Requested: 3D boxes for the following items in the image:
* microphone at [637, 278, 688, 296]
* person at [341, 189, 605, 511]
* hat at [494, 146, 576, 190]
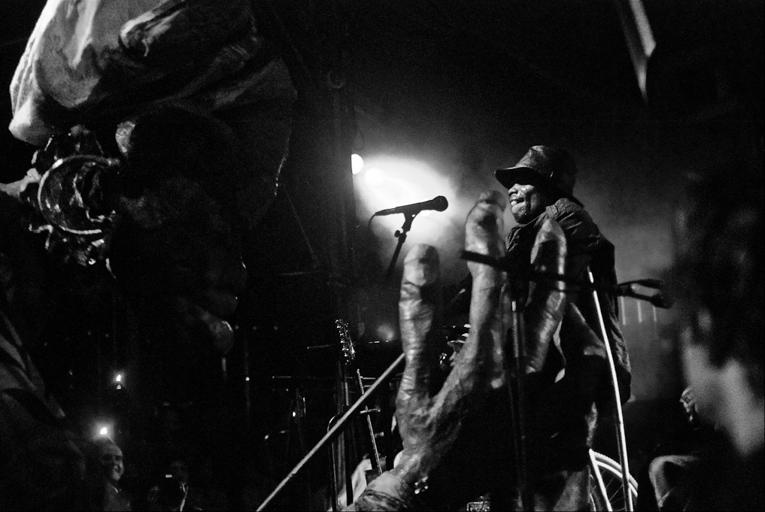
[{"bbox_3d":[1.413,0.156,4.060,0.134,0.048,0.177,2,0,0],"label":"microphone"},{"bbox_3d":[0.561,0.340,3.645,1.054,1.654,0.876,11,-39,1],"label":"person"},{"bbox_3d":[0.811,-0.437,4.237,0.331,0.178,0.256,23,-14,20],"label":"hat"}]
